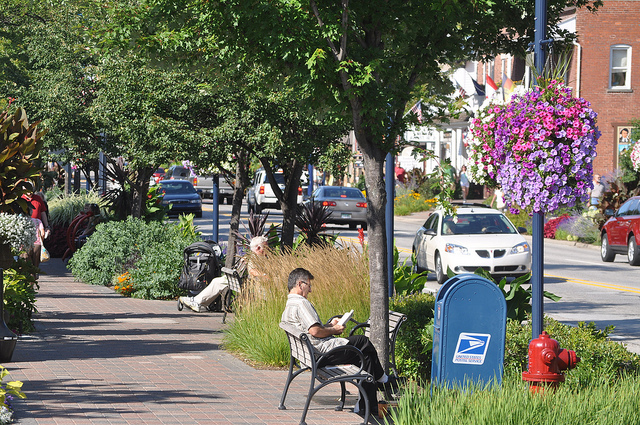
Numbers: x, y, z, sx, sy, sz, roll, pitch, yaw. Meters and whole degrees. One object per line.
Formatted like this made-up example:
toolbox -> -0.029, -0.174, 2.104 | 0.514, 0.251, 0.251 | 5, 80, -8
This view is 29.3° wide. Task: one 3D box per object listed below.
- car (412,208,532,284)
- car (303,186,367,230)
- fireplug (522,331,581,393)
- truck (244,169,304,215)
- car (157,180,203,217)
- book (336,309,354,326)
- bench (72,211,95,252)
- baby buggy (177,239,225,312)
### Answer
car -> 3.936, 0.793, 31.022 | 2.316, 1.845, 2.842 | -2, 0, -10
car -> 0.806, -0.207, 44.667 | 1.762, 1.532, 1.903 | -2, 1, -10
fireplug -> 3.711, 2.361, 19.523 | 0.858, 1.216, 0.806 | -1, 0, -2
truck -> -2.486, -0.770, 51.474 | 1.856, 2.140, 4.663 | 0, -1, -10
car -> -5.659, -0.589, 50.133 | 1.567, 1.567, 2.897 | -2, 0, -7
book -> 0.434, 1.748, 20.367 | 0.249, 0.069, 0.259 | -44, -2, -5
bench -> -6.567, 0.517, 33.967 | 0.598, 0.756, 1.292 | -2, 0, -14
baby buggy -> -2.601, 1.317, 27.001 | 0.832, 1.482, 0.897 | 5, 10, 30
